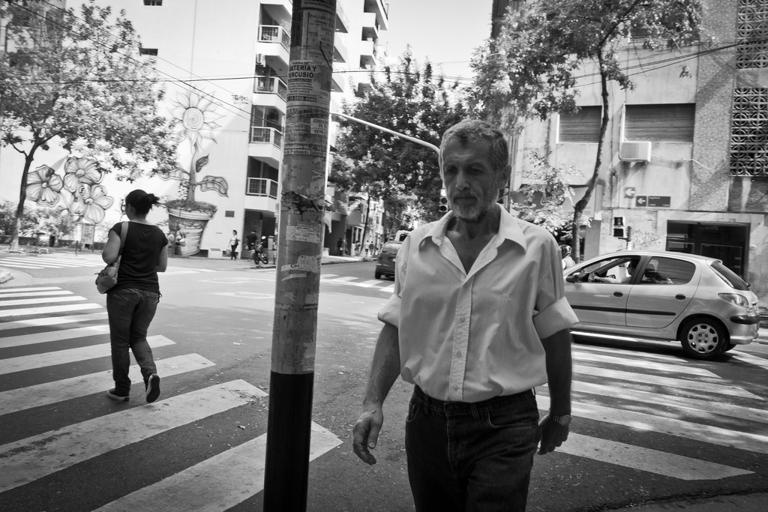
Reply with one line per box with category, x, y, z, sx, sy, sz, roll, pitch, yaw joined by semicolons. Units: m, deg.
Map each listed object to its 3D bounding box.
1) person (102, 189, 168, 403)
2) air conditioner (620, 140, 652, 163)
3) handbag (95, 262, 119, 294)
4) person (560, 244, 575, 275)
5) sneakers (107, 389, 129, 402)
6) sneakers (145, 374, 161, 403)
person;-2.856;0.442;6.051;0.653;2.446;0.848;2;4;-23
air conditioner;10.910;-4.511;23.045;1.542;1.086;0.836;-1;-3;29
handbag;-3.076;0.232;5.895;0.215;0.382;0.168;3;3;-13
person;4.684;0.071;13.466;0.430;0.771;0.431;-11;-37;11
sneakers;-3.060;1.614;6.106;0.270;0.105;0.115;14;12;31
sneakers;-2.561;1.475;5.912;0.148;0.346;0.152;-6;20;-31
